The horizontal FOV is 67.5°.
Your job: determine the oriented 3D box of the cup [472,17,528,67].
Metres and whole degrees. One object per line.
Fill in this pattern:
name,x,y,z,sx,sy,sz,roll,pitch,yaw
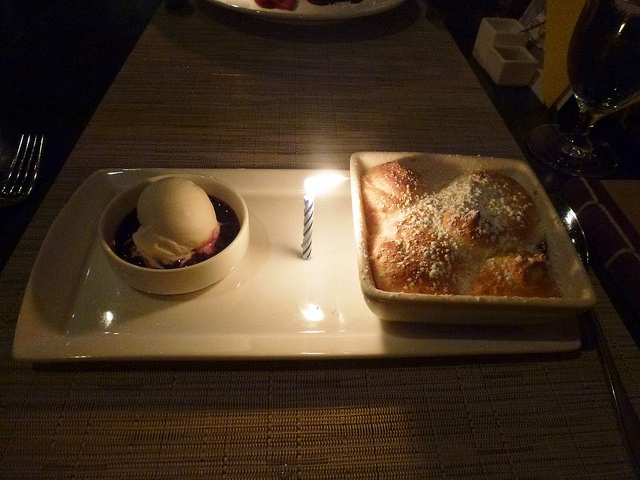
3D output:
cup,0.561,-0.654,1.544,0.143,0.132,0.151,5,55,-7

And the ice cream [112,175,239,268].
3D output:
ice cream,-0.285,-0.023,0.945,0.199,0.092,0.201,17,48,8

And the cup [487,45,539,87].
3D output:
cup,0.588,-0.541,1.510,0.161,0.079,0.157,5,38,-4

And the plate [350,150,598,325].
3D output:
plate,0.282,-0.033,0.973,0.429,0.097,0.405,1,61,-4

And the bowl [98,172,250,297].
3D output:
bowl,-0.294,0.025,0.960,0.262,0.105,0.268,4,51,-5
